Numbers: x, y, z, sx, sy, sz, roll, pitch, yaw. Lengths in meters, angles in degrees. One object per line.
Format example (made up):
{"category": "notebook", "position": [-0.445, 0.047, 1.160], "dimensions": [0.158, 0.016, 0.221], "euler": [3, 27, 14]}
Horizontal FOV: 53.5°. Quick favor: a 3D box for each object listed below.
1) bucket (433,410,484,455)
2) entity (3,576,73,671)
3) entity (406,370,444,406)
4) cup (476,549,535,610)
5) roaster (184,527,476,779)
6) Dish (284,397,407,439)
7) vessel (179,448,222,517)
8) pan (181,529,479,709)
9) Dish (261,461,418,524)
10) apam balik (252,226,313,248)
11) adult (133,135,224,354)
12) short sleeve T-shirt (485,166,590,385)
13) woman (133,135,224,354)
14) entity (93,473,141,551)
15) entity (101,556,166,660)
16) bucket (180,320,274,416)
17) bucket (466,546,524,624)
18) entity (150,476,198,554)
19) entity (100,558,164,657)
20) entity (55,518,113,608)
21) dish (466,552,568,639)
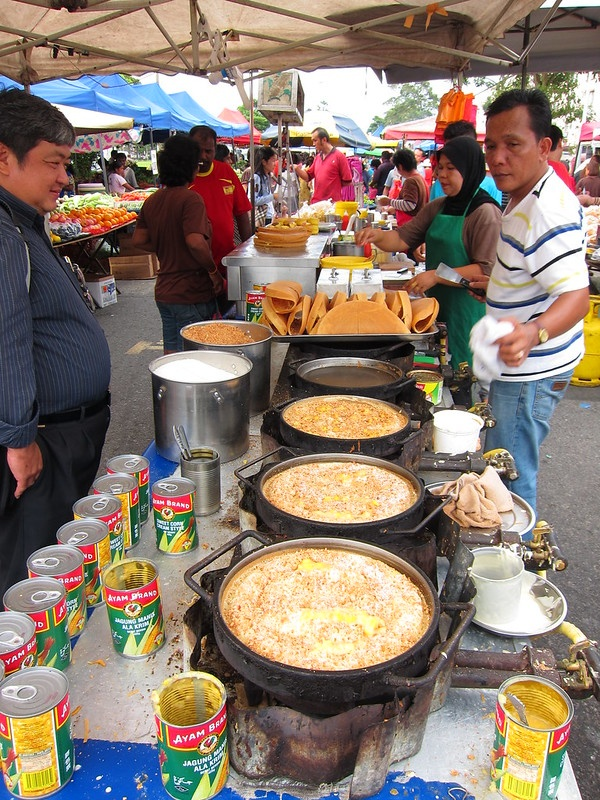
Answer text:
{"category": "bucket", "position": [0.521, 0.097, 1.997], "dimensions": [0.161, 0.088, 0.152], "euler": [-2, 22, 1]}
{"category": "entity", "position": [-0.465, 0.398, 1.055], "dimensions": [0.132, 0.188, 0.122], "euler": [1, 29, -23]}
{"category": "entity", "position": [0.542, -0.072, 2.521], "dimensions": [0.185, 0.126, 0.163], "euler": [0, 28, 2]}
{"category": "cup", "position": [0.432, 0.397, 1.310], "dimensions": [0.124, 0.105, 0.152], "euler": [-1, 22, 7]}
{"category": "roaster", "position": [0.046, 0.420, 1.036], "dimensions": [0.409, 0.142, 0.374], "euler": [6, 30, 5]}
{"category": "Dish", "position": [0.148, 0.057, 1.866], "dimensions": [0.207, 0.021, 0.187], "euler": [-3, 22, -9]}
{"category": "vessel", "position": [-0.278, 0.238, 1.702], "dimensions": [0.110, 0.154, 0.112], "euler": [12, 20, 37]}
{"category": "pan", "position": [0.091, 0.354, 0.974], "dimensions": [0.402, 0.133, 0.317], "euler": [13, 27, 29]}
{"category": "Dish", "position": [0.092, 0.224, 1.494], "dimensions": [0.373, 0.022, 0.362], "euler": [2, 17, 20]}
{"category": "apam balik", "position": [-0.124, -1.124, 4.106], "dimensions": [0.310, 0.103, 0.286], "euler": [-6, 22, -11]}
{"category": "adult", "position": [-0.900, -1.170, 4.626], "dimensions": [0.707, 1.691, 0.468], "euler": [11, 22, 37]}
{"category": "short sleeve T-shirt", "position": [0.981, -0.460, 2.329], "dimensions": [0.345, 0.866, 0.630], "euler": [-1, 17, 4]}
{"category": "woman", "position": [-0.900, -1.171, 4.630], "dimensions": [0.709, 1.691, 0.468], "euler": [11, 22, 36]}
{"category": "entity", "position": [-0.485, 0.281, 1.552], "dimensions": [0.125, 0.176, 0.118], "euler": [6, 3, -11]}
{"category": "entity", "position": [-0.329, 0.420, 1.200], "dimensions": [0.107, 0.153, 0.110], "euler": [9, 18, 42]}
{"category": "bucket", "position": [-0.272, -0.130, 2.580], "dimensions": [0.477, 0.359, 0.408], "euler": [1, 27, -1]}
{"category": "bucket", "position": [0.432, 0.405, 1.374], "dimensions": [0.156, 0.135, 0.193], "euler": [0, 20, 8]}
{"category": "entity", "position": [-0.313, 0.298, 1.514], "dimensions": [0.111, 0.158, 0.110], "euler": [6, 16, 28]}
{"category": "entity", "position": [-0.333, 0.418, 1.199], "dimensions": [0.114, 0.154, 0.105], "euler": [-1, 14, -12]}
{"category": "entity", "position": [-0.498, 0.373, 1.334], "dimensions": [0.128, 0.183, 0.122], "euler": [-1, -5, -11]}
{"category": "dish", "position": [0.471, 0.403, 1.297], "dimensions": [0.246, 0.072, 0.226], "euler": [-4, 24, 3]}
